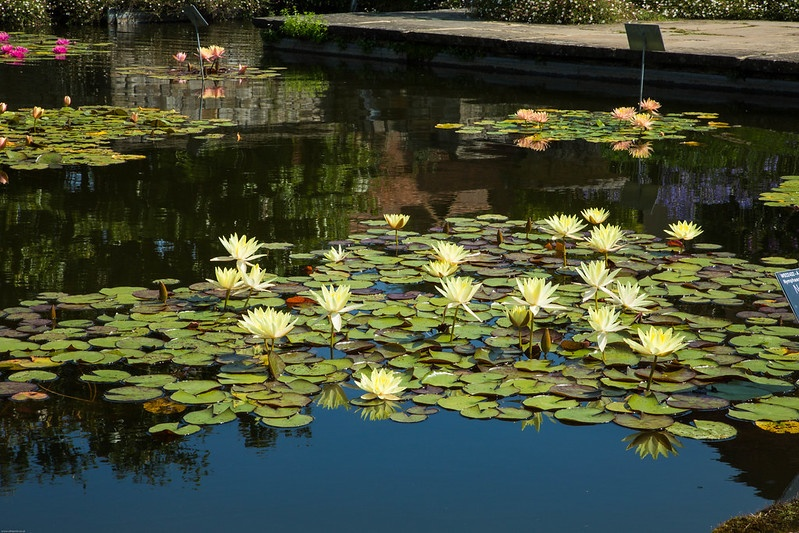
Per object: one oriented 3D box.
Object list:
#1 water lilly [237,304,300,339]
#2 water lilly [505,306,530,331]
[{"bbox_3d":[-0.582,0.238,4.248,0.260,0.087,0.195,1,8,-11],"label":"water lilly"},{"bbox_3d":[0.528,0.220,4.384,0.153,0.103,0.120,-5,13,1],"label":"water lilly"}]
